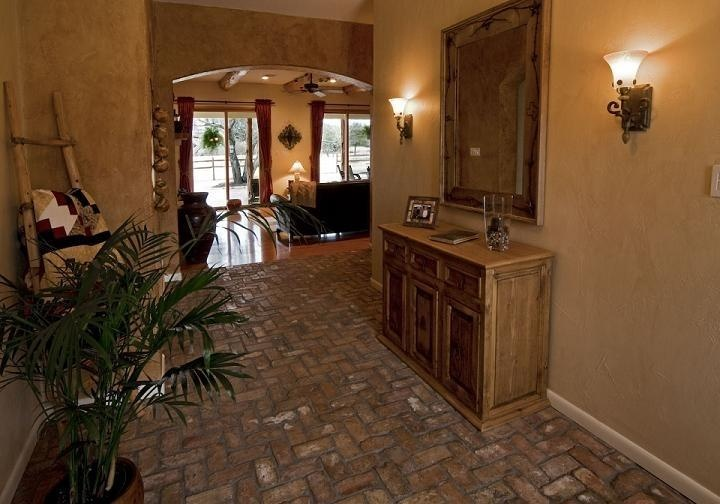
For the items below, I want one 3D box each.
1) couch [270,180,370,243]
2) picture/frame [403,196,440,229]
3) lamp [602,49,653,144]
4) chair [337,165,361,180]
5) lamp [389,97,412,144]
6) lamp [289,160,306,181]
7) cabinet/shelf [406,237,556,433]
[{"bbox_3d":[-0.518,-0.610,7.456,0.976,0.678,0.600,-6,17,-19],"label":"couch"},{"bbox_3d":[0.546,-0.345,4.254,0.247,0.259,0.018,18,-3,44],"label":"picture/frame"},{"bbox_3d":[1.563,-0.907,2.870,0.239,0.515,0.237,1,3,-10],"label":"lamp"},{"bbox_3d":[-0.284,-2.102,12.966,0.508,0.514,0.722,-5,10,-15],"label":"chair"},{"bbox_3d":[0.423,-1.329,4.916,0.211,0.441,0.294,-1,14,4],"label":"lamp"},{"bbox_3d":[-1.531,-2.042,12.275,0.494,0.693,0.508,-4,16,-18],"label":"lamp"},{"bbox_3d":[0.970,0.543,4.193,0.939,1.730,1.717,-3,11,-17],"label":"cabinet/shelf"}]
